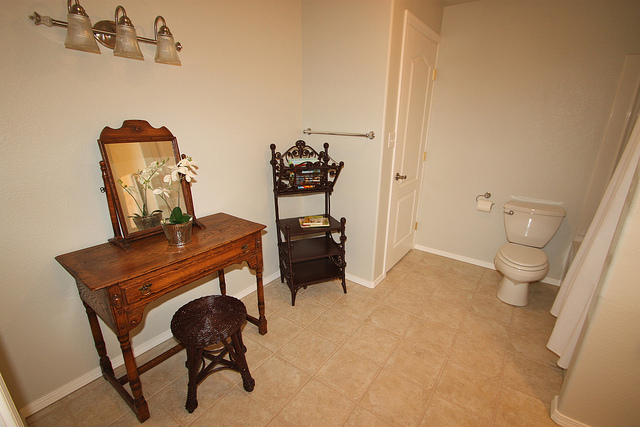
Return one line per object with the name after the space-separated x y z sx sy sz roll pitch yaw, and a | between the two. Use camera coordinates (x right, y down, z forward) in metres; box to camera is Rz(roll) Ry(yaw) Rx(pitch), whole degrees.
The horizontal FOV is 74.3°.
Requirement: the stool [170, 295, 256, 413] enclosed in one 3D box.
-0.763 1.025 3.530 0.746 0.928 0.775 -4 21 -15 | stool

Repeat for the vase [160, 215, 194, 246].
-1.059 0.126 3.204 0.207 0.160 0.210 1 8 11 | vase

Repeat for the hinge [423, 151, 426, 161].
1.150 -0.644 4.684 0.012 0.124 0.065 15 29 33 | hinge

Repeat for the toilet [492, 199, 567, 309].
2.002 0.392 4.114 0.575 0.915 0.664 8 20 30 | toilet

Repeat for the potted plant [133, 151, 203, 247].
-1.142 -0.093 3.305 0.473 0.701 0.382 -5 1 -7 | potted plant

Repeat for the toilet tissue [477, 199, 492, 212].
1.693 -0.080 4.385 0.117 0.115 0.117 7 61 24 | toilet tissue

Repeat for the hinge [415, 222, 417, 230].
1.115 0.149 4.946 0.028 0.080 0.010 -14 21 -33 | hinge
